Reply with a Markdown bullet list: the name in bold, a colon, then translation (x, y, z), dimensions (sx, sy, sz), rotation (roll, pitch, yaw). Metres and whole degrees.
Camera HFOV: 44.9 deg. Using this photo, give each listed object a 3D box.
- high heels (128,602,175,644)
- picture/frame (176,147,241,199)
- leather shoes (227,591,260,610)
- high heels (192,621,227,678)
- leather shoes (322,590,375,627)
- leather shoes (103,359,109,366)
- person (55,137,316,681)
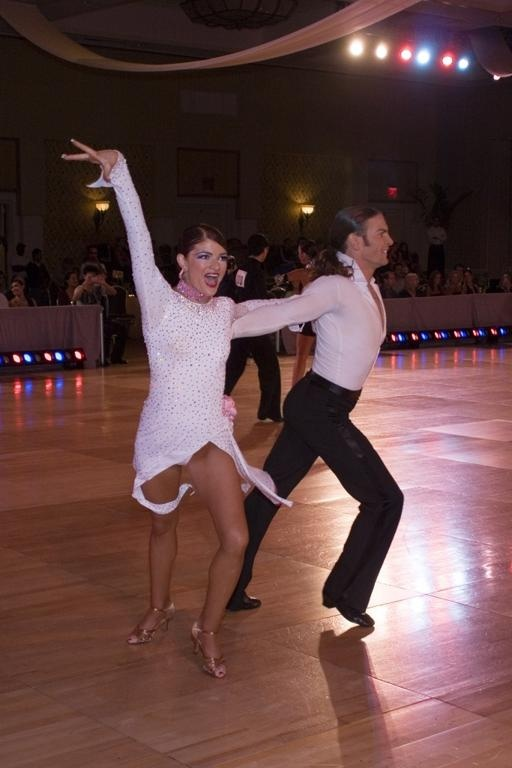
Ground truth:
- **high heels**: translation (-0.375, 0.865, 2.307), dimensions (0.077, 0.112, 0.227), rotation (7, 10, 39)
- **picture/frame**: translation (-1.584, -6.724, 19.860), dimensions (2.194, 1.467, 0.156), rotation (-8, 22, -28)
- **leather shoes**: translation (-0.052, 0.906, 2.601), dimensions (0.132, 0.047, 0.066), rotation (-7, 8, -17)
- **high heels**: translation (-0.140, 0.833, 1.975), dimensions (0.070, 0.067, 0.186), rotation (-17, 42, 5)
- **leather shoes**: translation (0.355, 0.879, 2.426), dimensions (0.188, 0.079, 0.062), rotation (29, 29, 7)
- **leather shoes**: translation (-2.854, -0.393, 11.769), dimensions (0.129, 0.118, 0.129), rotation (-7, 12, -6)
- **person**: translation (-0.234, 0.094, 1.935), dimensions (0.601, 1.626, 0.690), rotation (1, 0, 1)
